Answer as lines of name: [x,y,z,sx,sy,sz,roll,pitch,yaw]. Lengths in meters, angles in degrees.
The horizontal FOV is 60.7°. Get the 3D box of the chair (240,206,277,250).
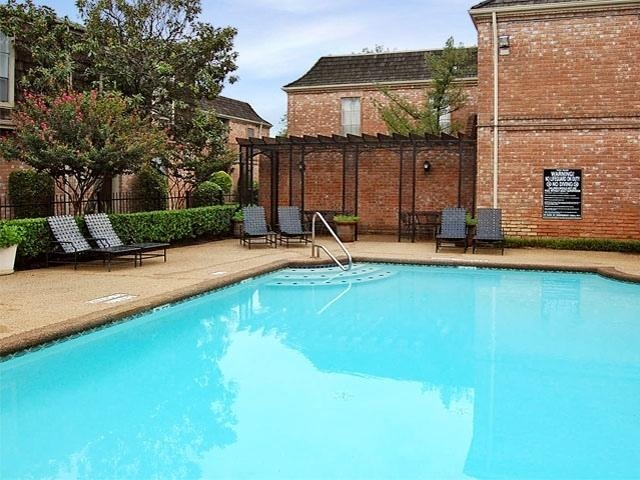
chair: [-1.652,-0.430,15.694,0.950,0.940,1.487,0,2,-17]

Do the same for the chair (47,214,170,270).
chair: [-4.648,-0.012,11.656,1.690,0.720,1.586,2,3,23]

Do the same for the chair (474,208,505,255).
chair: [4.429,-0.267,14.281,0.691,1.024,0.835,4,13,14]

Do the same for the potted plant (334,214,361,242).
potted plant: [0.892,-0.340,16.802,0.944,0.655,0.829,0,-2,-13]
